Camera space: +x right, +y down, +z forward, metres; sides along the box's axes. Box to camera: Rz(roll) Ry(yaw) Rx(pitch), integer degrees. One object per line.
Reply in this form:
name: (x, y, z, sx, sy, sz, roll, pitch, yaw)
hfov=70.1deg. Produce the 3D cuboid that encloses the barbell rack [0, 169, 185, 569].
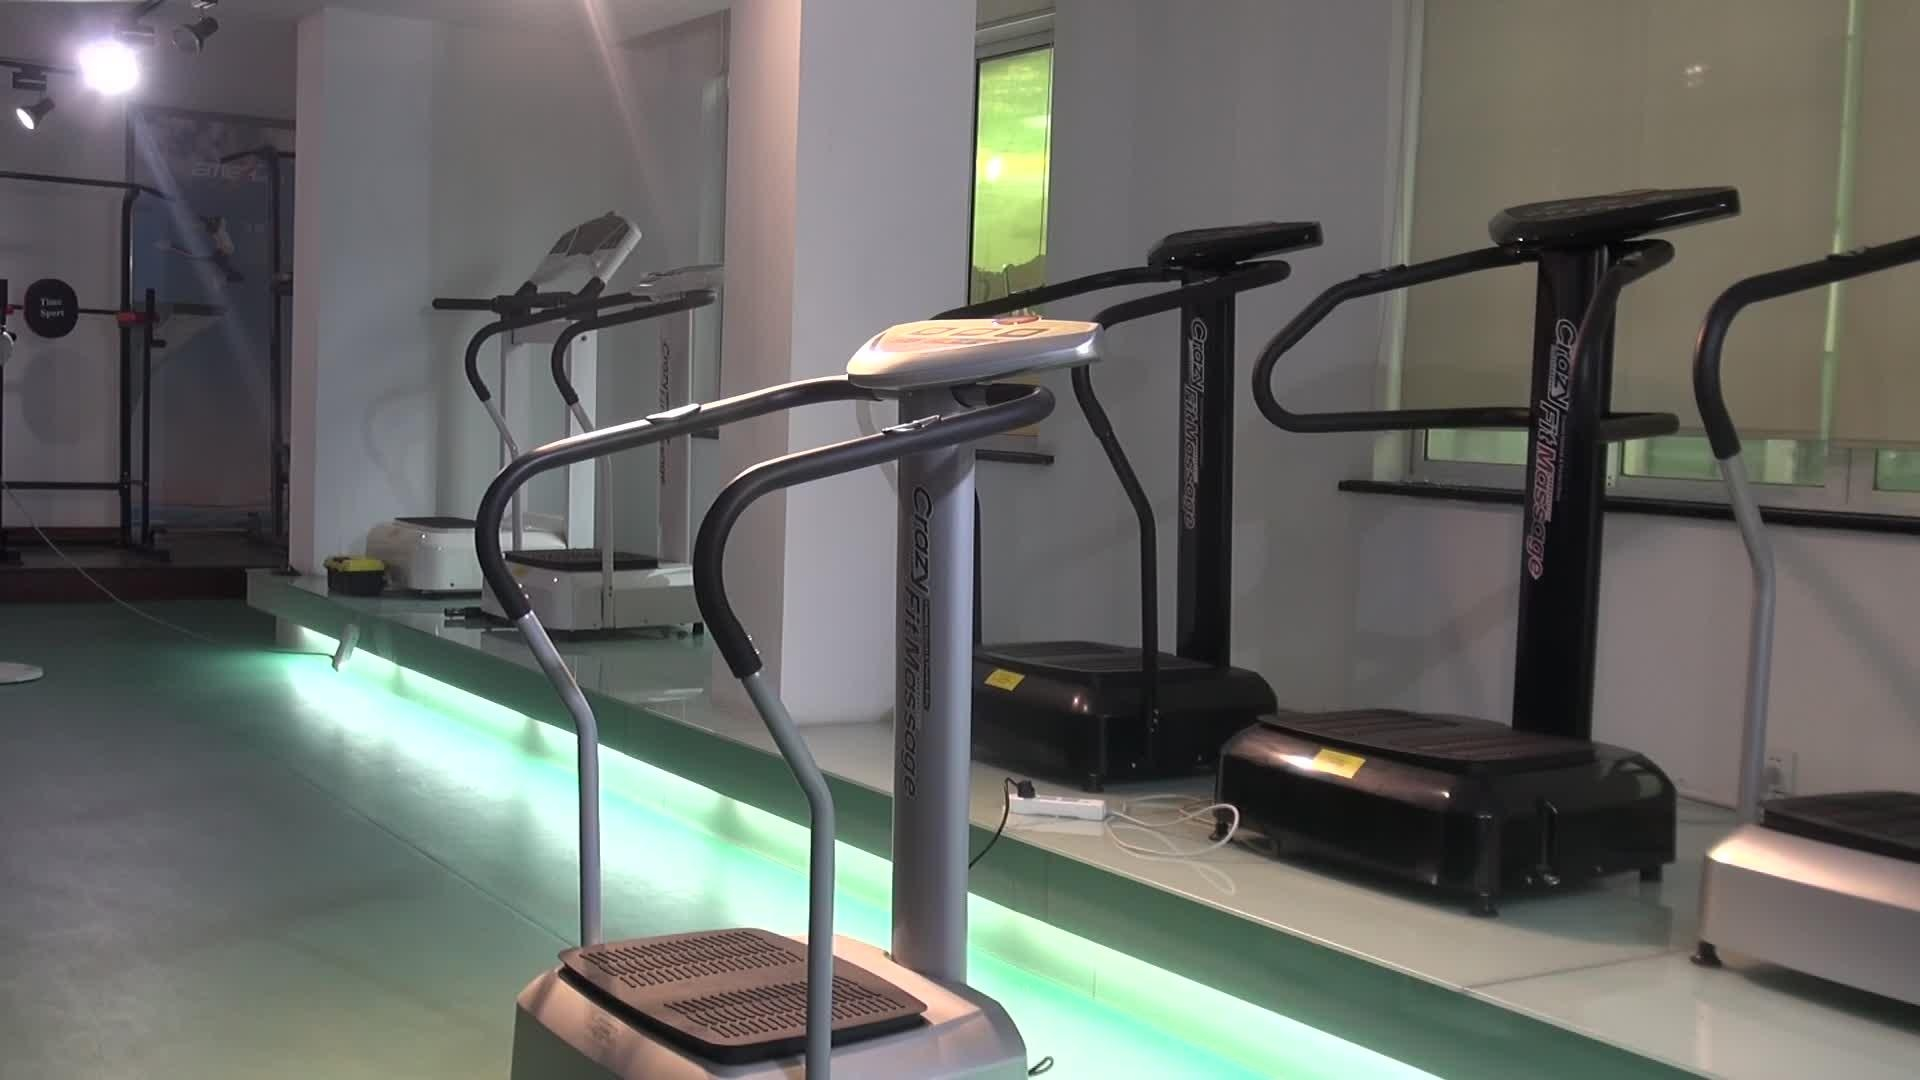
barbell rack: (-6.660, -1.384, 10.551, 1.096, 2.811, 1.542, -5, 17, -28)
